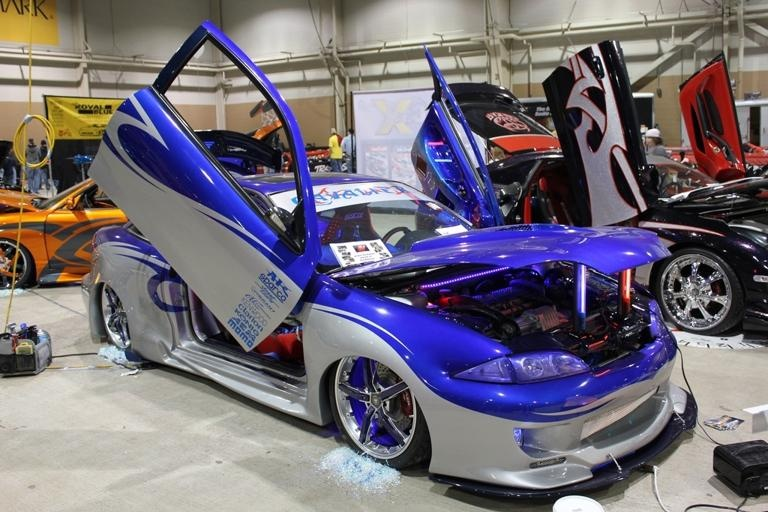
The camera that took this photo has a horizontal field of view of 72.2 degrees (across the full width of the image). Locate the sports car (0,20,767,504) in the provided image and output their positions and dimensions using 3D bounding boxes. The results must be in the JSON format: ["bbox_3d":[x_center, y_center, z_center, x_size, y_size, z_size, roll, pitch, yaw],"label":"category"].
[{"bbox_3d":[-0.009,0.091,4.668,4.810,2.612,3.370,10,19,33],"label":"sports car"}]
